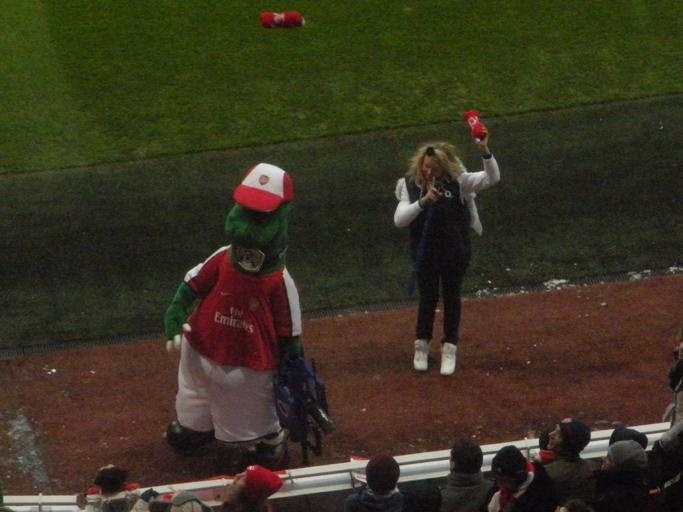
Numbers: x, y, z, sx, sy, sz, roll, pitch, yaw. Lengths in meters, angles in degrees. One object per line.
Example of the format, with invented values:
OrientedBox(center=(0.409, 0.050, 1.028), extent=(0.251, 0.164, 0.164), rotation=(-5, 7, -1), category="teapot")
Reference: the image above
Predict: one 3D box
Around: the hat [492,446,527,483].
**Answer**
OrientedBox(center=(1.226, 1.512, 7.921), extent=(0.249, 0.208, 0.294), rotation=(-1, -3, 15), category="hat")

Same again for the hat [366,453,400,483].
OrientedBox(center=(0.302, 1.533, 7.830), extent=(0.215, 0.206, 0.212), rotation=(3, 38, 1), category="hat")

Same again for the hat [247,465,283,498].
OrientedBox(center=(-0.559, 1.622, 7.762), extent=(0.253, 0.216, 0.158), rotation=(-2, 17, -3), category="hat")

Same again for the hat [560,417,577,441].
OrientedBox(center=(1.677, 1.265, 8.014), extent=(0.101, 0.105, 0.119), rotation=(2, 16, 10), category="hat")

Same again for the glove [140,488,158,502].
OrientedBox(center=(-1.416, 1.769, 7.969), extent=(0.147, 0.067, 0.178), rotation=(-3, 14, -9), category="glove")

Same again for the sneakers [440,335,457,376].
OrientedBox(center=(0.982, 0.909, 9.652), extent=(0.131, 0.307, 0.152), rotation=(1, -23, 9), category="sneakers")

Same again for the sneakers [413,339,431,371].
OrientedBox(center=(0.724, 0.884, 9.697), extent=(0.131, 0.293, 0.138), rotation=(0, -31, 8), category="sneakers")

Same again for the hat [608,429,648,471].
OrientedBox(center=(2.126, 1.435, 8.060), extent=(0.256, 0.138, 0.292), rotation=(-2, 27, -14), category="hat")
